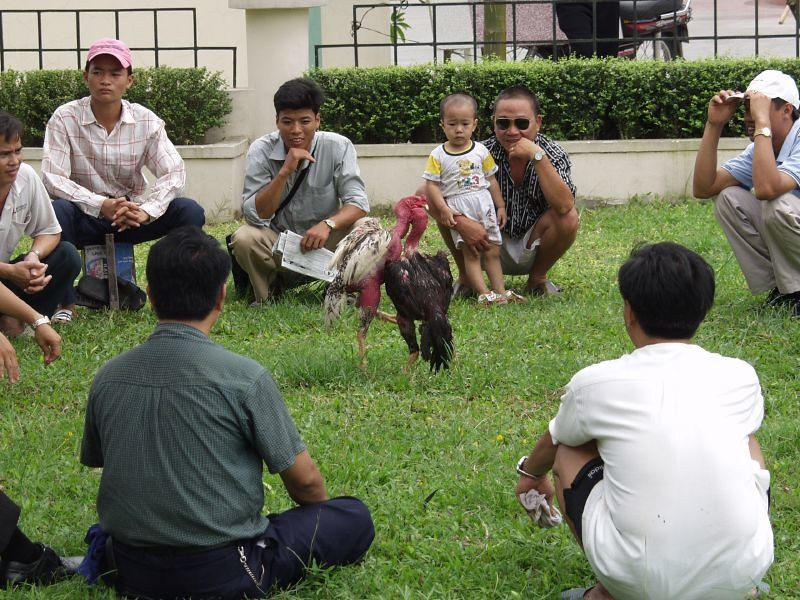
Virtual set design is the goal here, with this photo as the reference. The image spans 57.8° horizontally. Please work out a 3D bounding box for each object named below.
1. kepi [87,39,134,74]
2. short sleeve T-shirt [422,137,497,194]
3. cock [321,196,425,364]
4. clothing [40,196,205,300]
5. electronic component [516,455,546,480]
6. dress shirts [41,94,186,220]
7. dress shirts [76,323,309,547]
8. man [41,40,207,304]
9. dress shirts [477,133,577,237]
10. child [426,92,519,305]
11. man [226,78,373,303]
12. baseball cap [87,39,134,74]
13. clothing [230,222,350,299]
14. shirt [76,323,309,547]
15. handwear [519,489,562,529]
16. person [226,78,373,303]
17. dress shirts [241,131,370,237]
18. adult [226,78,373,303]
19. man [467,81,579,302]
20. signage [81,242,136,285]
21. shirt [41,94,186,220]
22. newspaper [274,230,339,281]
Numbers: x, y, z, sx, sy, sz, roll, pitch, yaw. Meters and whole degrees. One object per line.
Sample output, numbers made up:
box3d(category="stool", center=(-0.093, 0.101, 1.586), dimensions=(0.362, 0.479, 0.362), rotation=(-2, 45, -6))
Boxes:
box3d(category="kepi", center=(-2.342, -2.039, 5.888), dimensions=(0.288, 0.223, 0.415), rotation=(1, -1, -9))
box3d(category="short sleeve T-shirt", center=(0.542, -1.159, 6.424), dimensions=(0.674, 0.511, 0.336), rotation=(-6, 14, 2))
box3d(category="cock", center=(-0.194, -0.190, 4.984), dimensions=(0.786, 1.036, 1.257), rotation=(-2, 8, -12))
box3d(category="clothing", center=(-2.394, -0.631, 6.262), dimensions=(1.261, 0.544, 0.790), rotation=(-3, 5, -22))
box3d(category="electronic component", center=(0.573, 0.739, 3.174), dimensions=(0.124, 0.097, 0.047), rotation=(25, 25, 7))
box3d(category="dress shirts", center=(-2.409, -1.229, 6.127), dimensions=(1.125, 0.870, 0.911), rotation=(2, 27, -11))
box3d(category="dress shirts", center=(-0.854, 0.506, 2.871), dimensions=(0.889, 0.810, 0.475), rotation=(0, 3, 4))
box3d(category="man", center=(-2.373, -0.974, 6.030), dimensions=(1.396, 2.218, 1.366), rotation=(10, 16, 21))
box3d(category="dress shirts", center=(1.209, -1.110, 6.587), dimensions=(0.888, 0.880, 0.391), rotation=(-15, 5, 27))
box3d(category="child", center=(0.602, -0.879, 6.342), dimensions=(0.647, 1.834, 0.636), rotation=(-11, 10, -4))
box3d(category="man", center=(-0.872, -0.901, 6.349), dimensions=(1.247, 1.912, 0.968), rotation=(-3, 20, -10))
box3d(category="baseball cap", center=(-2.346, -1.996, 5.812), dimensions=(0.331, 0.261, 0.347), rotation=(-2, 8, -24))
box3d(category="clothing", center=(-1.031, -0.365, 6.357), dimensions=(0.763, 0.261, 0.764), rotation=(-16, 39, -18))
box3d(category="shirt", center=(-0.866, 0.501, 2.874), dimensions=(0.871, 0.820, 0.464), rotation=(1, 3, 11))
box3d(category="handwear", center=(0.619, 0.900, 3.132), dimensions=(0.146, 0.090, 0.195), rotation=(25, 3, 7))
box3d(category="person", center=(-0.847, -0.886, 6.318), dimensions=(1.283, 1.920, 1.047), rotation=(-1, 22, -9))
box3d(category="dress shirts", center=(-0.849, -1.016, 6.394), dimensions=(1.061, 1.017, 0.561), rotation=(2, 38, -12))
box3d(category="adult", center=(-0.842, -0.892, 6.334), dimensions=(1.290, 1.896, 0.996), rotation=(-2, 21, -9))
box3d(category="man", center=(1.070, -0.938, 6.581), dimensions=(1.258, 1.822, 0.955), rotation=(3, 8, 24))
box3d(category="signage", center=(-2.505, -0.329, 6.215), dimensions=(0.397, 0.382, 0.093), rotation=(-8, 11, -28))
box3d(category="shirt", center=(-2.412, -1.232, 6.128), dimensions=(1.111, 0.860, 0.897), rotation=(0, 27, -19))
box3d(category="newspaper", center=(-0.845, -0.345, 6.048), dimensions=(0.558, 0.424, 0.172), rotation=(16, -22, -20))
